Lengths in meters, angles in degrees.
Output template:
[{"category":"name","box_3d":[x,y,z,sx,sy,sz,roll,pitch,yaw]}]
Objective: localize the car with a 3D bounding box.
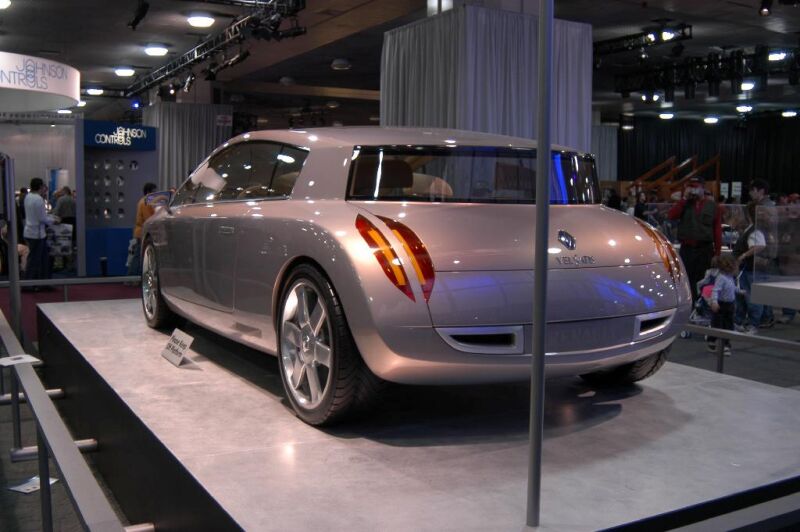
[{"category":"car","box_3d":[-0.292,-0.105,3.116,1.452,0.924,2.489,-1,10,-32]}]
